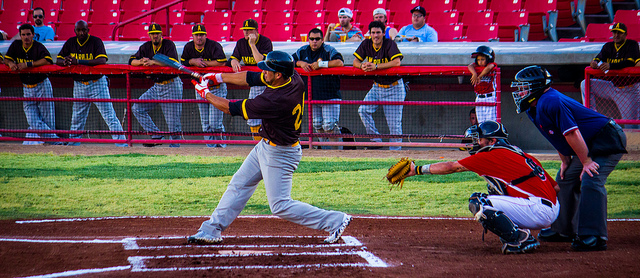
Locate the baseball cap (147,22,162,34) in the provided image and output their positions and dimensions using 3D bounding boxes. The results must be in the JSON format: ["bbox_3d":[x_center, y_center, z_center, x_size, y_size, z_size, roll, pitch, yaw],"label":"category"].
[{"bbox_3d":[-5.144,-3.490,21.181,0.324,0.328,0.382,-2,3,7],"label":"baseball cap"}]

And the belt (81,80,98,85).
[{"bbox_3d":[-7.181,-1.776,21.086,0.505,0.132,0.019,-2,3,-3],"label":"belt"}]

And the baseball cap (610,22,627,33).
[{"bbox_3d":[9.323,-3.463,21.026,0.474,0.318,0.225,-3,3,-17],"label":"baseball cap"}]

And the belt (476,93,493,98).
[{"bbox_3d":[5.127,-1.358,20.976,0.487,0.129,0.088,-1,4,18],"label":"belt"}]

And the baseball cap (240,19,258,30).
[{"bbox_3d":[-2.144,-3.551,20.893,0.504,0.217,0.343,2,-1,-45],"label":"baseball cap"}]

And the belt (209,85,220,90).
[{"bbox_3d":[-3.254,-1.599,20.969,0.228,0.063,0.158,-10,8,33],"label":"belt"}]

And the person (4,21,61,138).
[{"bbox_3d":[-9.008,-1.831,21.235,1.429,3.607,0.790,-3,3,4],"label":"person"}]

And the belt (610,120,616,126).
[{"bbox_3d":[7.580,-0.424,17.442,0.097,0.146,0.174,-1,3,37],"label":"belt"}]
